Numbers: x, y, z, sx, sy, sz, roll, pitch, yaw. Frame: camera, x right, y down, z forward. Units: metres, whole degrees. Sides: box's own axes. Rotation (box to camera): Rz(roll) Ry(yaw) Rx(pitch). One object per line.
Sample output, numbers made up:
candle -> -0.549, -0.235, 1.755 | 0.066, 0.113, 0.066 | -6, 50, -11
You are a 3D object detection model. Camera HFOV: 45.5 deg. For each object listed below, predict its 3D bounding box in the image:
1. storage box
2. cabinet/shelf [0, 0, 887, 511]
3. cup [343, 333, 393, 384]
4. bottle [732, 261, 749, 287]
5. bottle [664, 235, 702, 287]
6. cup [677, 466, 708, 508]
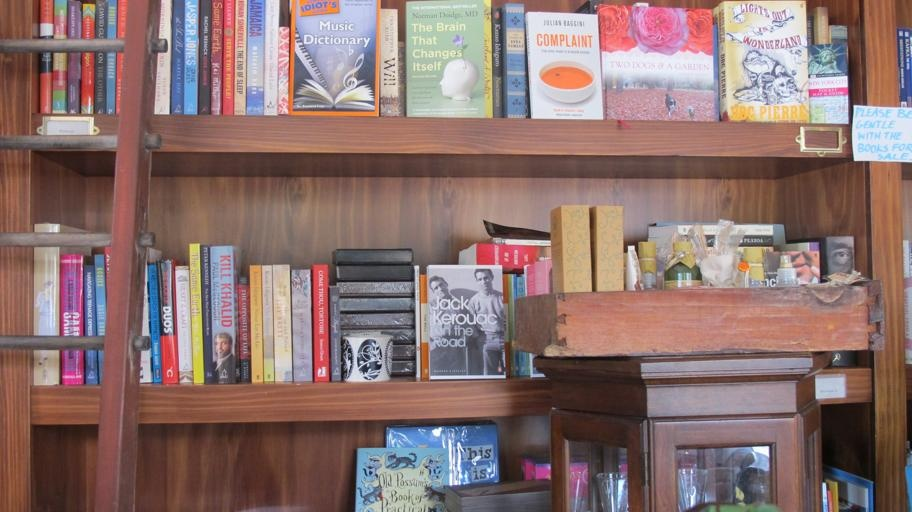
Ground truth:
storage box -> 0.705, 0.169, 2.992 | 0.927, 0.215, 0.088 | 1, 15, 0
cabinet/shelf -> -0.057, -0.001, 3.395 | 1.774, 1.558, 0.511 | 2, -6, -12
cup -> -0.280, 0.331, 3.479 | 0.161, 0.115, 0.144 | 0, -4, -11
bottle -> 0.832, 0.050, 3.151 | 0.022, 0.068, 0.052 | 4, 1, 17
bottle -> 0.645, 0.010, 3.235 | 0.128, 0.169, 0.127 | -1, -2, 0
cup -> 0.655, 0.637, 3.001 | 0.080, 0.107, 0.049 | 2, 15, 2
